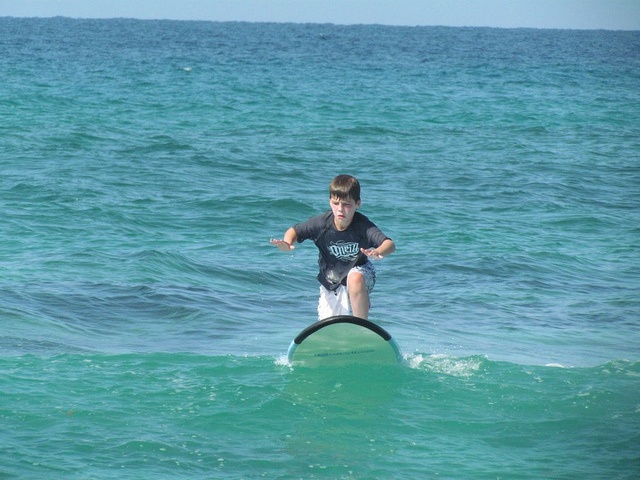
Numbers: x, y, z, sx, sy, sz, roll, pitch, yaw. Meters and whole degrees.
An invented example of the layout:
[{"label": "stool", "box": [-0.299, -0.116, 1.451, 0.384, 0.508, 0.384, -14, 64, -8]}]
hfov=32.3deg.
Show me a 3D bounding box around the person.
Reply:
[{"label": "person", "box": [0.376, 0.184, 18.050, 1.725, 2.494, 0.713, 8, 17, 25]}]
